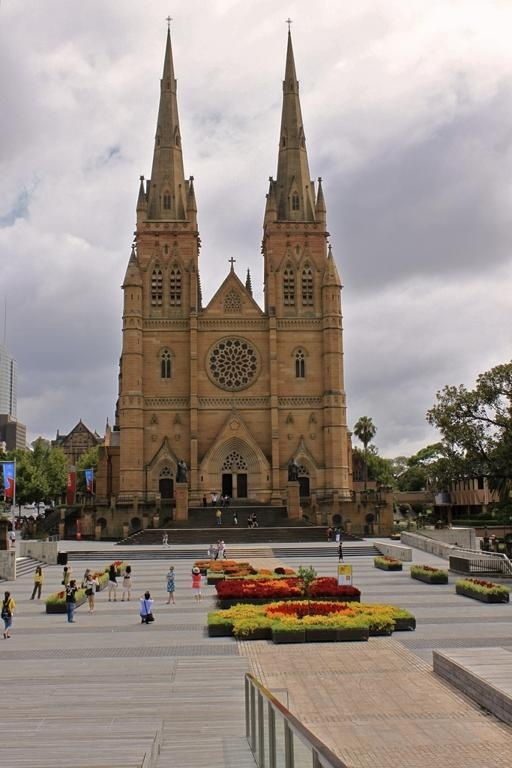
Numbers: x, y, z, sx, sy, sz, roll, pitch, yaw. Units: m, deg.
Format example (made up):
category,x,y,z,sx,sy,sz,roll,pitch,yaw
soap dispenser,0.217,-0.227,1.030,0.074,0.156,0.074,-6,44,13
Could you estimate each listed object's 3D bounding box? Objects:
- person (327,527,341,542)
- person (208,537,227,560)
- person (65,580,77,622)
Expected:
category,x,y,z,sx,sy,sz,roll,pitch,yaw
person,4.317,8.257,48.196,0.673,0.801,0.675,0,-8,-3
person,-1.784,7.560,39.843,0.609,0.758,1.321,1,-11,4
person,-4.832,5.677,23.070,0.224,1.004,0.932,1,-9,-13
